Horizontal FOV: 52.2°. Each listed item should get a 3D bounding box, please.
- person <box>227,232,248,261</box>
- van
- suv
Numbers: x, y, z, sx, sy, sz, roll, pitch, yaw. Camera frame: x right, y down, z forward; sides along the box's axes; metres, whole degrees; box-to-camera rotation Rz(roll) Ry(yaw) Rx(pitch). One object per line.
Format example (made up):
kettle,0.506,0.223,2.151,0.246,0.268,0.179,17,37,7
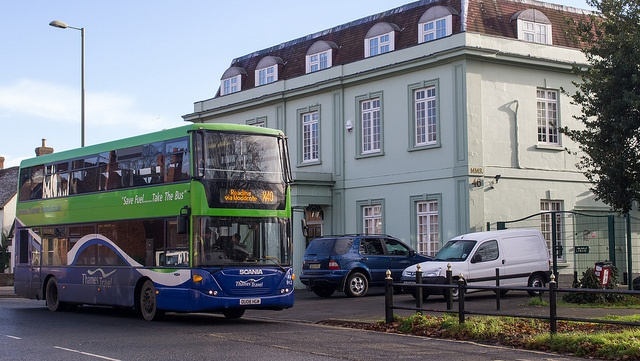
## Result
person,-2.987,2.446,24.060,0.719,1.018,0.168,6,-12,-32
van,6.966,3.786,29.563,5.999,2.633,3.437,4,-8,-22
suv,2.295,4.133,32.329,5.861,2.408,2.974,-2,-2,-29
